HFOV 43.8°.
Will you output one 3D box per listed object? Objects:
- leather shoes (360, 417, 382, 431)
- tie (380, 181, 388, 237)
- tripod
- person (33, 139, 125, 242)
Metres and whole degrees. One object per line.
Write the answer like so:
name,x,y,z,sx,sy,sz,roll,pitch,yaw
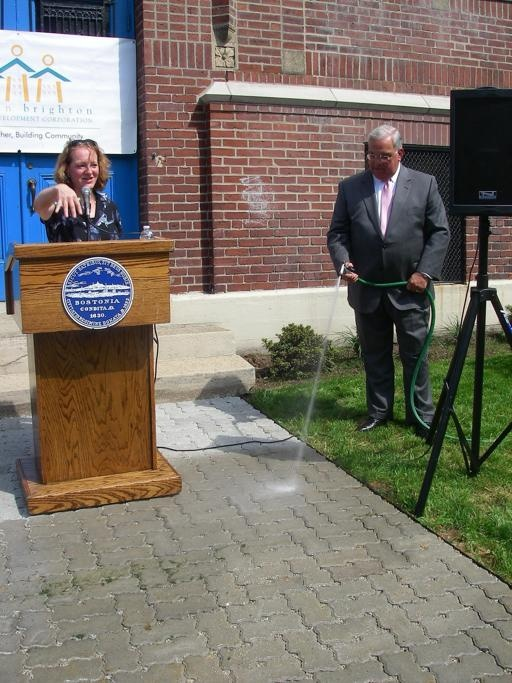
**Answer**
leather shoes,0.807,0.588,4.516,0.201,0.071,0.065,-7,-4,-28
tie,0.853,-0.888,4.246,0.054,0.341,0.037,2,-9,12
tripod,1.144,0.069,3.442,0.560,1.445,1.169,0,9,14
person,-0.952,-0.796,3.324,0.431,0.563,0.756,-3,9,-9
